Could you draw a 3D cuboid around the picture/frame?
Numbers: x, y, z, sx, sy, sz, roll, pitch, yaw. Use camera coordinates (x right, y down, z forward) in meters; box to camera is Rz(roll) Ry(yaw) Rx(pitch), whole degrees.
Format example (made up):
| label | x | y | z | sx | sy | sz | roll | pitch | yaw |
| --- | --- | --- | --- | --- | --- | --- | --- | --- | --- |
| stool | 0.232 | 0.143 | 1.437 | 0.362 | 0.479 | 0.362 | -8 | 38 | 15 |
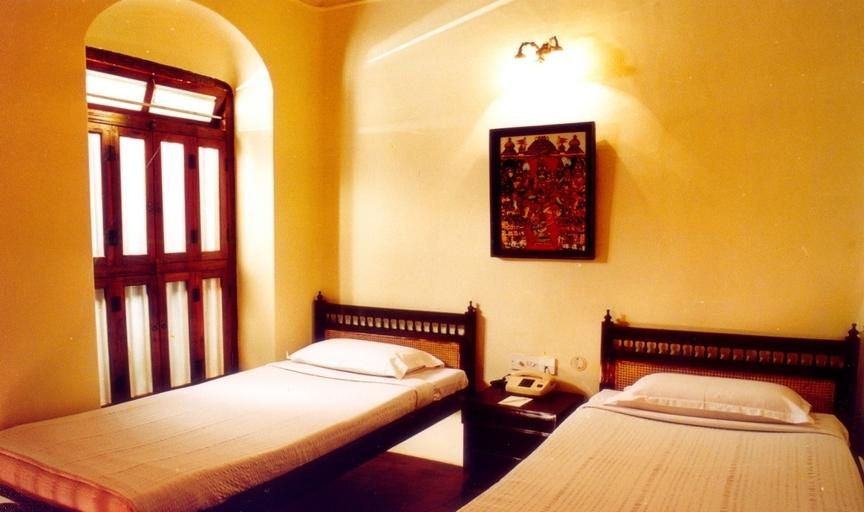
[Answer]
| label | x | y | z | sx | sy | sz | roll | pitch | yaw |
| --- | --- | --- | --- | --- | --- | --- | --- | --- | --- |
| picture/frame | 0.893 | -0.529 | 4.962 | 0.845 | 1.083 | 0.053 | 0 | 4 | 21 |
